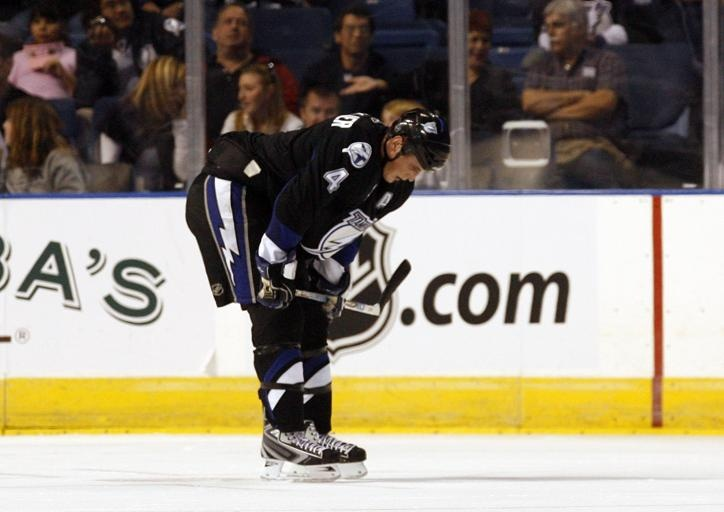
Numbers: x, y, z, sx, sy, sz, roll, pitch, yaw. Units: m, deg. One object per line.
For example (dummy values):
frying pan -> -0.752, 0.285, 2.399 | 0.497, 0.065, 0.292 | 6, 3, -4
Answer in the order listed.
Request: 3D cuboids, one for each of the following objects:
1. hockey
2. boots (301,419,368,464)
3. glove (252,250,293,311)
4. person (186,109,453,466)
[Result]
hockey -> -0.166, 0.216, 8.670 | 0.234, 0.308, 1.263 | 22, -13, -37
boots -> -0.141, 1.007, 8.489 | 0.451, 0.197, 0.143 | 16, 15, 16
glove -> -0.482, 0.153, 8.345 | 0.219, 0.270, 0.122 | 0, 6, -21
person -> -0.298, 0.179, 8.379 | 1.311, 1.943, 0.501 | 0, 2, -7
